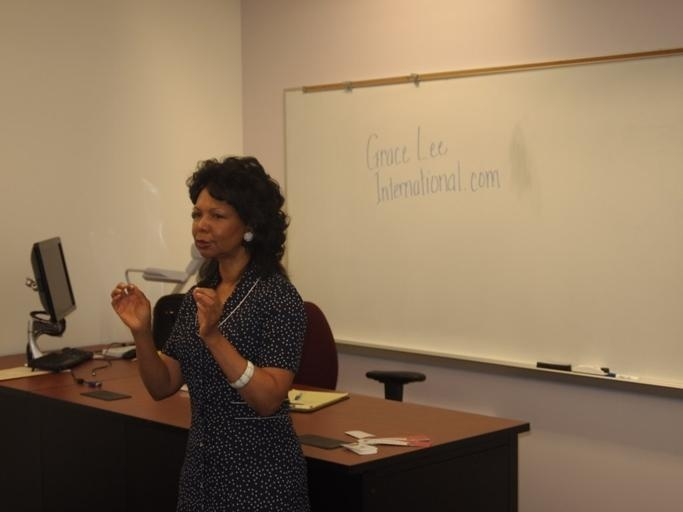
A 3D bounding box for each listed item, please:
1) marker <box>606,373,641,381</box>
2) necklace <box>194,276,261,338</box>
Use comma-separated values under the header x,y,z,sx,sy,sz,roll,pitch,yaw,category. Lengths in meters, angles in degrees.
x,y,z,sx,sy,sz,roll,pitch,yaw,category
1.347,0.573,2.575,0.115,0.029,0.027,3,6,31,marker
-0.281,0.128,1.422,0.041,0.285,0.024,12,-30,42,necklace
